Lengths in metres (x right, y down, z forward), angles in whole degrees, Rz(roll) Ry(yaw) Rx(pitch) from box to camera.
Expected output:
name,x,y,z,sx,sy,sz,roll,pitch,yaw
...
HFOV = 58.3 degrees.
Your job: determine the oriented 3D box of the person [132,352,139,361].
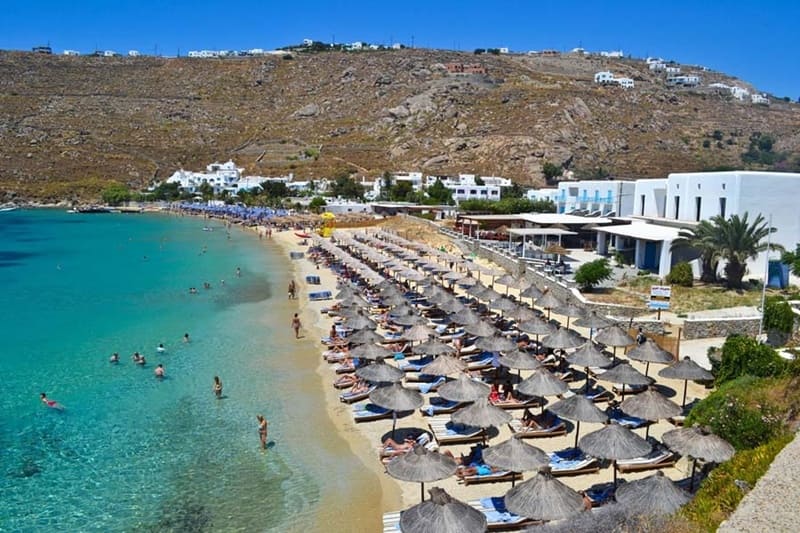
name,x,y,z,sx,sy,sz,roll,pitch,yaw
person,-17.078,5.807,46.475,0.410,0.560,1.024,-7,12,-20
